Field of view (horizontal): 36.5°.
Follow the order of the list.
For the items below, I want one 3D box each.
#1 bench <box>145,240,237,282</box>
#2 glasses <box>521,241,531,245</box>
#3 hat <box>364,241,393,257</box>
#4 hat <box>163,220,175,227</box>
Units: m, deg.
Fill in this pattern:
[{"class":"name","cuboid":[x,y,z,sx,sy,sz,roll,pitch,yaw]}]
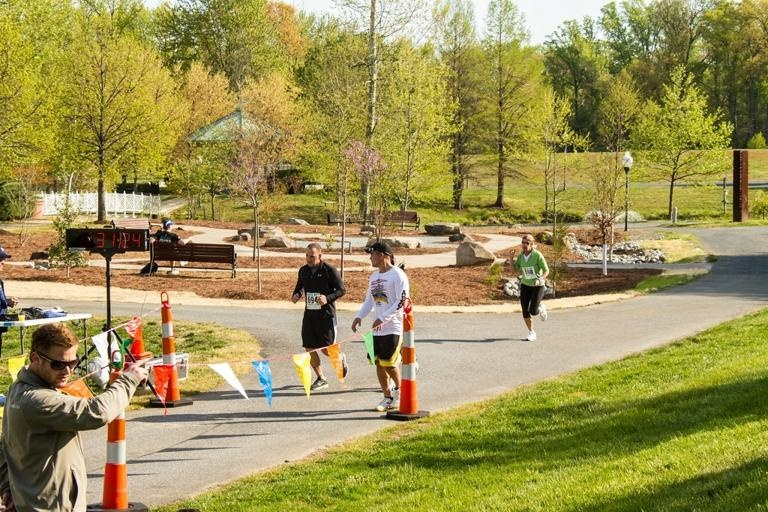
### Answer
[{"class":"bench","cuboid":[-8.406,0.076,51.733,3.561,1.345,1.084,3,1,-13]},{"class":"glasses","cuboid":[5.325,-0.461,43.397,0.173,0.138,0.238,1,-4,36]},{"class":"hat","cuboid":[-0.139,-0.220,39.578,0.770,0.428,0.506,4,1,15]},{"class":"hat","cuboid":[-9.627,-1.419,52.908,0.390,0.170,0.273,-9,20,-24]}]
